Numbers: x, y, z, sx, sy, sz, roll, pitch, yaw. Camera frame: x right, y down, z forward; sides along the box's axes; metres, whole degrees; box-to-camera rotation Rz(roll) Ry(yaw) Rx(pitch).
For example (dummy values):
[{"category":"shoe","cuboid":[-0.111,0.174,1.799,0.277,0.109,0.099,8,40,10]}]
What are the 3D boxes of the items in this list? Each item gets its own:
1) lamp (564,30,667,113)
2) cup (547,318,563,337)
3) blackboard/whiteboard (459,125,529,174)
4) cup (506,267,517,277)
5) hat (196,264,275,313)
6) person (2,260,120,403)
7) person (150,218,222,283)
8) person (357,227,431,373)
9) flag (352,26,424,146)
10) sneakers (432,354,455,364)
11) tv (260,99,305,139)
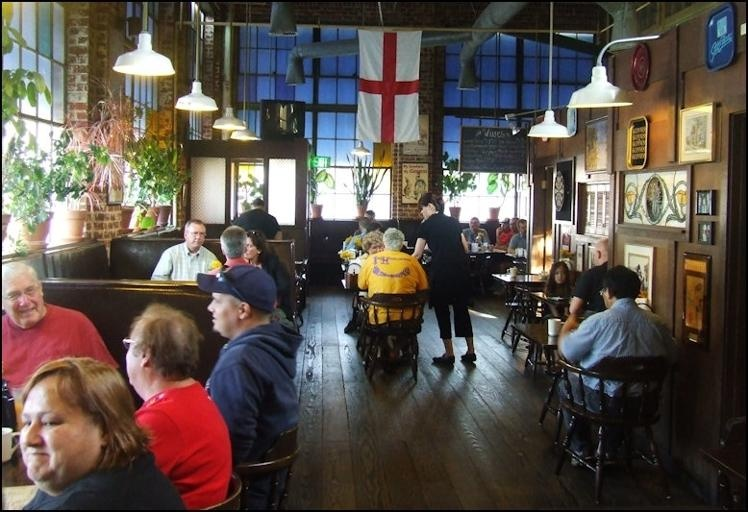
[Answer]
[{"category":"lamp","cuboid":[1.856,-1.430,4.389,0.615,0.474,0.385,12,28,43]},{"category":"cup","cuboid":[1.676,0.679,5.315,0.172,0.157,0.111,2,-2,-26]},{"category":"blackboard/whiteboard","cuboid":[2.327,-2.030,10.964,1.095,0.802,0.118,1,-1,-1]},{"category":"cup","cuboid":[1.930,0.240,7.956,0.095,0.112,0.148,0,-2,-26]},{"category":"hat","cuboid":[-0.701,0.178,2.899,0.328,0.180,0.220,16,6,3]},{"category":"person","cuboid":[-1.784,0.433,3.206,0.617,0.794,0.323,-4,11,5]},{"category":"person","cuboid":[-1.779,0.014,5.529,0.750,0.709,0.432,-4,24,-39]},{"category":"person","cuboid":[0.196,0.473,6.269,0.772,1.530,0.593,0,8,2]},{"category":"flag","cuboid":[0.159,-1.966,6.567,0.714,1.288,0.435,0,8,1]},{"category":"sneakers","cuboid":[0.805,1.204,6.539,0.255,0.116,0.107,3,1,11]},{"category":"tv","cuboid":[-1.687,-2.441,10.509,0.705,0.741,0.730,5,7,36]}]
